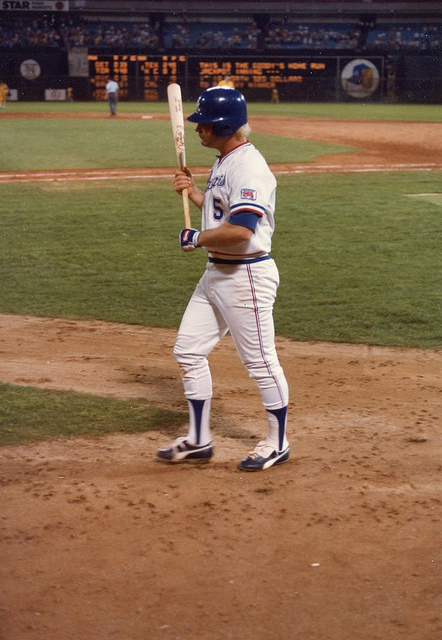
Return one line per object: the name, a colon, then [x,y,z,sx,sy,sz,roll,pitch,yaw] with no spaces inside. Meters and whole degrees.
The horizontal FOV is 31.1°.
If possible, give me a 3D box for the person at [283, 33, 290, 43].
person: [3.350,-14.464,40.471,0.326,0.623,0.761,1,7,4]
